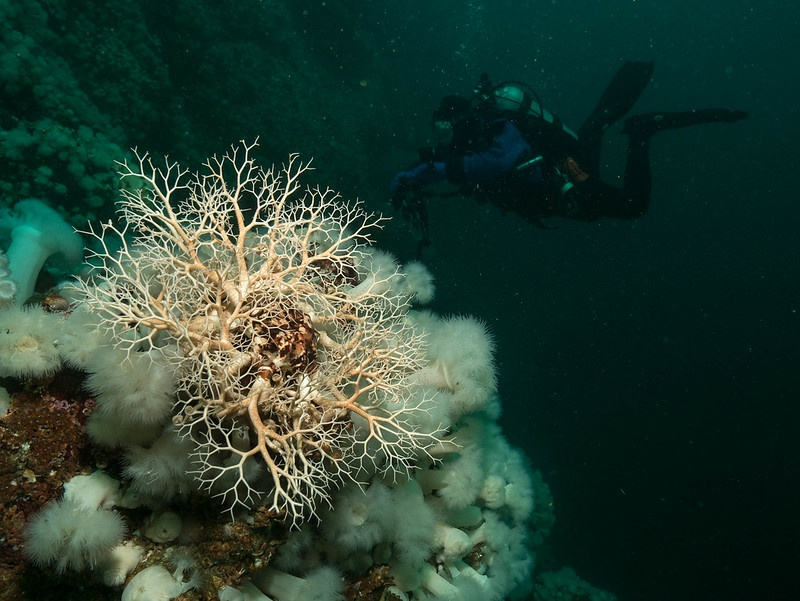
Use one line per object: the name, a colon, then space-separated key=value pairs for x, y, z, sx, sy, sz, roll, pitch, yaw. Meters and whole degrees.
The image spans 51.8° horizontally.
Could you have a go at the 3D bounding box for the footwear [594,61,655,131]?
footwear: x=3.322 y=-3.139 z=12.257 sx=1.552 sy=0.492 sz=0.219 roll=-63 pitch=9 yaw=-2

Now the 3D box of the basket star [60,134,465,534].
basket star: x=-1.473 y=0.126 z=9.757 sx=3.593 sy=4.648 sz=3.683 roll=-1 pitch=10 yaw=-22

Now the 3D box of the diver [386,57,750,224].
diver: x=2.396 y=-2.264 z=12.557 sx=4.887 sy=2.130 sz=2.148 roll=-7 pitch=21 yaw=-12
